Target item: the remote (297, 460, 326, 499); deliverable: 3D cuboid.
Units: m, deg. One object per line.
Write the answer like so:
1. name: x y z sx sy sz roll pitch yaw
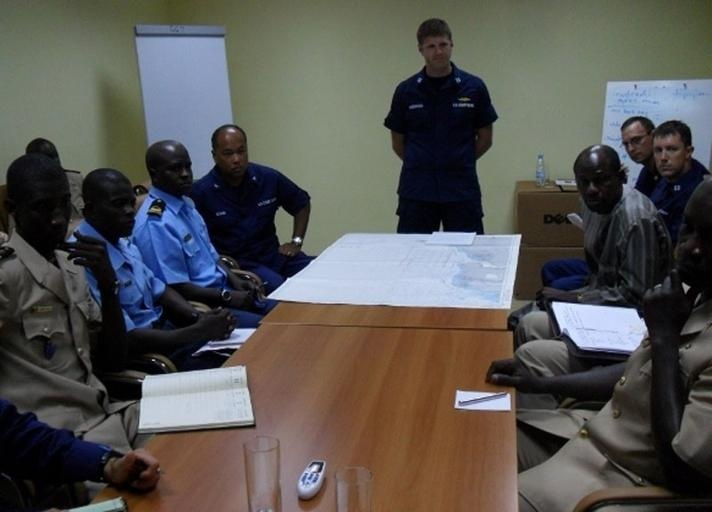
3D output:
1. remote: -0.116 0.601 1.453 0.059 0.052 0.104 0 13 14

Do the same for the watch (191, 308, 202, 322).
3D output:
1. watch: -0.791 0.298 2.713 0.065 0.076 0.072 3 -4 -34

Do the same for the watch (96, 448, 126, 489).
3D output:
1. watch: -0.695 0.606 1.549 0.056 0.086 0.091 -2 -2 23

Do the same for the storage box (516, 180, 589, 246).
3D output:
1. storage box: 1.689 -0.333 4.776 0.513 0.527 0.372 -1 7 23

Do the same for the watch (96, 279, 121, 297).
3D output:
1. watch: -0.998 0.132 2.219 0.080 0.050 0.062 1 10 22

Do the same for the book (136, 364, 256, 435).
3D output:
1. book: -0.517 0.475 1.763 0.222 0.044 0.254 -2 15 -7

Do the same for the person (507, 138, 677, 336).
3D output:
1. person: 1.270 -0.023 2.948 0.728 1.097 0.626 -4 18 -6

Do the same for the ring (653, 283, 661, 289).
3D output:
1. ring: 1.077 0.111 1.957 0.021 0.010 0.030 -1 -18 -43

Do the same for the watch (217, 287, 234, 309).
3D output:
1. watch: -0.712 0.241 3.002 0.066 0.106 0.095 -1 -3 -20

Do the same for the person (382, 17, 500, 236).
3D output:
1. person: 0.635 -0.919 4.080 0.824 1.532 0.406 -2 14 3
